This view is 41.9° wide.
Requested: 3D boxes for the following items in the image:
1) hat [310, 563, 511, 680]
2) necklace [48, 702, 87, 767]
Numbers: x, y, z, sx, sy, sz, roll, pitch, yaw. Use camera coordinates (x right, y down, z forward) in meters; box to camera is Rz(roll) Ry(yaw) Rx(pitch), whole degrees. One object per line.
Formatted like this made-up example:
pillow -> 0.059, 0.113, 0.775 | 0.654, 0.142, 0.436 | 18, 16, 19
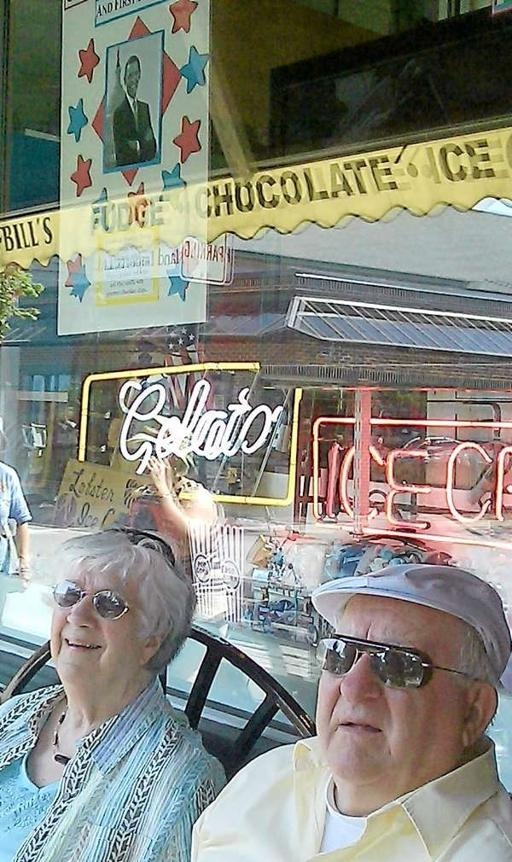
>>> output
hat -> 0.248, 0.266, 1.111 | 0.275, 0.131, 0.215 | 21, -19, 15
necklace -> -0.489, 0.770, 1.707 | 0.076, 0.137, 0.037 | -8, -36, 27
